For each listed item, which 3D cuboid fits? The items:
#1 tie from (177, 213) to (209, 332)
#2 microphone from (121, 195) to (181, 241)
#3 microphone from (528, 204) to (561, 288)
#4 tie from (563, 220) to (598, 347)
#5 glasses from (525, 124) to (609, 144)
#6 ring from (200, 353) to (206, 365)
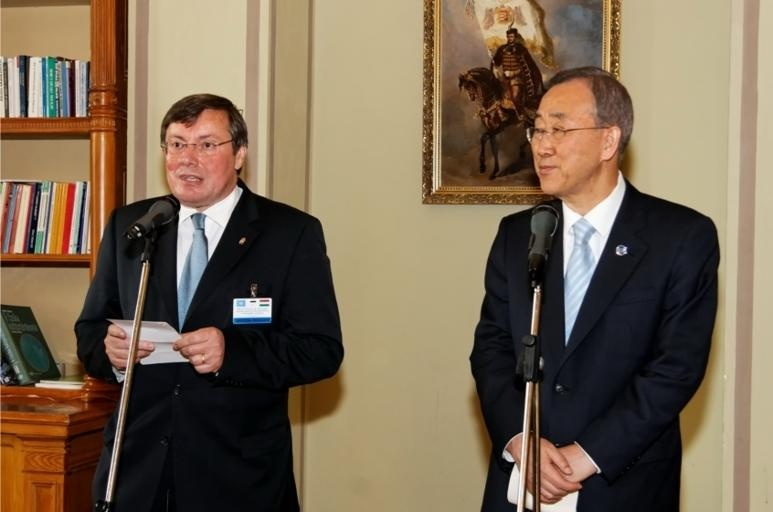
[{"bbox_3d":[-0.895,0.069,3.459,0.095,0.584,0.088,-3,-34,10],"label":"tie"},{"bbox_3d":[-0.990,-0.166,3.211,0.158,0.170,0.335,0,5,2],"label":"microphone"},{"bbox_3d":[0.641,-0.046,3.036,0.111,0.319,0.310,1,6,12],"label":"microphone"},{"bbox_3d":[0.831,0.108,3.235,0.120,0.555,0.073,11,-25,19],"label":"tie"},{"bbox_3d":[0.756,-0.540,3.256,0.152,0.045,0.146,1,-3,-32],"label":"glasses"},{"bbox_3d":[-0.796,0.448,3.227,0.026,0.030,0.028,3,18,-1],"label":"ring"}]
